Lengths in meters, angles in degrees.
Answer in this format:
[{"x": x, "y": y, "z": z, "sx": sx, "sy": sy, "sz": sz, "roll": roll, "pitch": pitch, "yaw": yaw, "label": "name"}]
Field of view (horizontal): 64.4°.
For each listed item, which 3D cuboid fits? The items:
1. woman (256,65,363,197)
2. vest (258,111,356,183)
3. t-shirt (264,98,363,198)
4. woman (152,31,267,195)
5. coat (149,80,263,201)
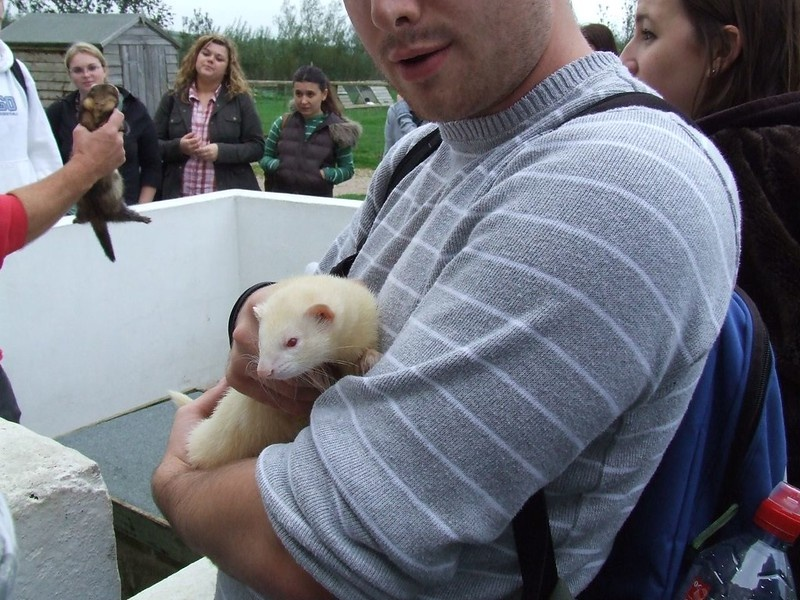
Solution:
[{"x": -1.018, "y": -1.337, "z": 6.946, "sx": 1.027, "sy": 2.240, "sz": 0.775, "roll": 2, "pitch": 6, "yaw": 3, "label": "woman"}, {"x": -0.994, "y": -1.596, "z": 6.832, "sx": 0.994, "sy": 0.937, "sz": 0.629, "roll": 5, "pitch": 0, "yaw": 0, "label": "vest"}, {"x": -1.025, "y": -1.537, "z": 6.832, "sx": 0.919, "sy": 1.044, "sz": 0.558, "roll": 10, "pitch": -3, "yaw": -1, "label": "t-shirt"}, {"x": -1.984, "y": -1.730, "z": 6.508, "sx": 1.011, "sy": 1.958, "sz": 0.869, "roll": 0, "pitch": -10, "yaw": -4, "label": "woman"}, {"x": -1.966, "y": -1.584, "z": 6.490, "sx": 0.964, "sy": 1.292, "sz": 0.740, "roll": -2, "pitch": 21, "yaw": -10, "label": "coat"}]
